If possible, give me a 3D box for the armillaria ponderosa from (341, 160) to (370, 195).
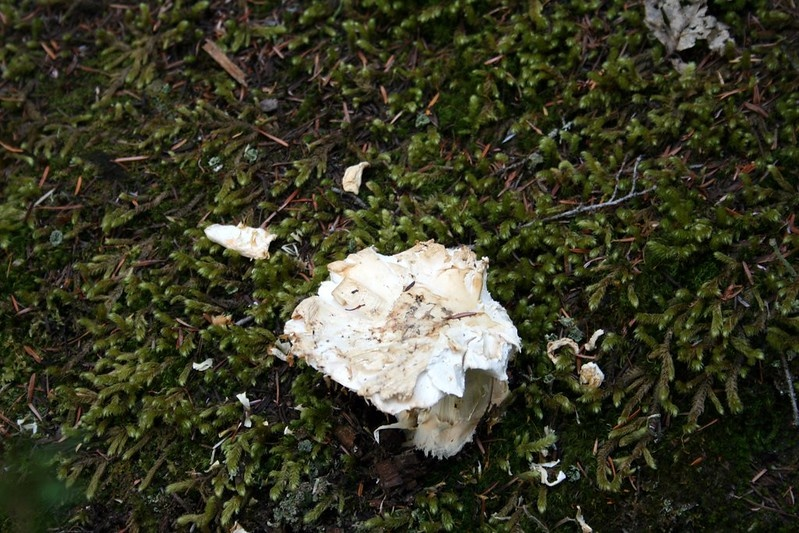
[{"bbox_3d":[-0.372,-0.775,6.100,0.204,0.065,0.272,39,86,13],"label":"armillaria ponderosa"}]
